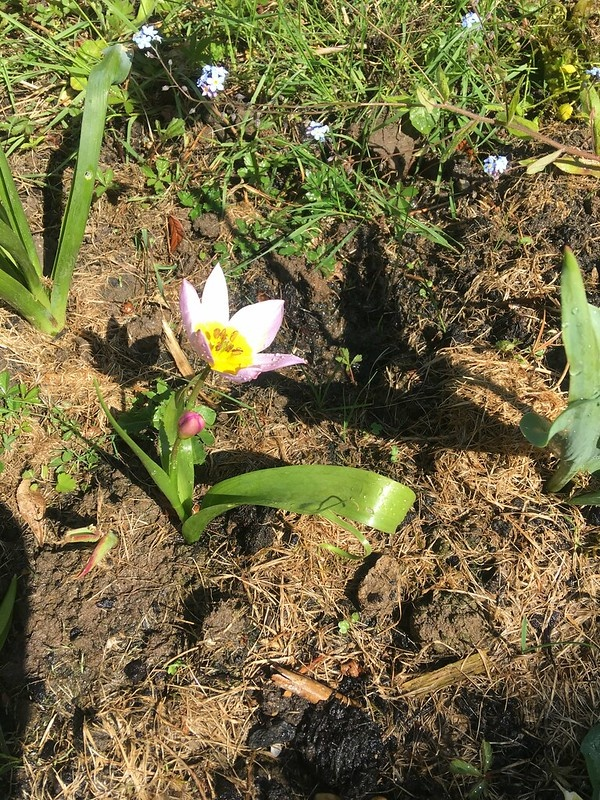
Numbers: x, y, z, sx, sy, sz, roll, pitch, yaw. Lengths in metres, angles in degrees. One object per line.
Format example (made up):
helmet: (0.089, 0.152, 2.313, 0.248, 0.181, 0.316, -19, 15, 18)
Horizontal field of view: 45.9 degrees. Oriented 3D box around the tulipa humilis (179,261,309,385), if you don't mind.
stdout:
tulipa humilis: (-0.147, -0.194, 1.751, 0.353, 0.169, 0.281, -13, 69, -46)
